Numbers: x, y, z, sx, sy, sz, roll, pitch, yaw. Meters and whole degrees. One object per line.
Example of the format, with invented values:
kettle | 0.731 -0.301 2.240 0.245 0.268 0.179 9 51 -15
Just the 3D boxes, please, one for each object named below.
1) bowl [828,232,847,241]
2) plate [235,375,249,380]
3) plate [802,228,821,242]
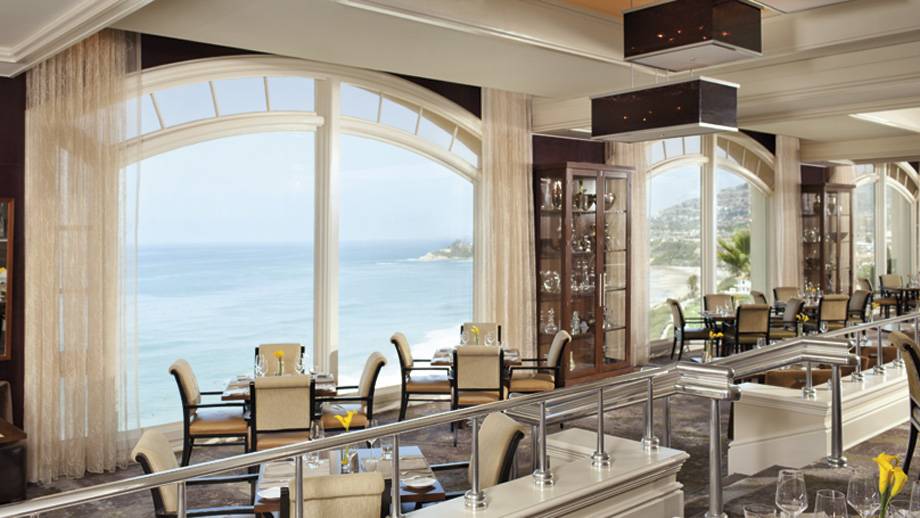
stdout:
bowl | 8.754 -0.510 15.577 0.322 0.107 0.313 0 -1 0
plate | -2.788 1.533 8.616 0.108 0.030 0.101 1 -2 -22
plate | 8.030 -0.544 15.378 0.407 0.336 0.347 0 -1 -36
